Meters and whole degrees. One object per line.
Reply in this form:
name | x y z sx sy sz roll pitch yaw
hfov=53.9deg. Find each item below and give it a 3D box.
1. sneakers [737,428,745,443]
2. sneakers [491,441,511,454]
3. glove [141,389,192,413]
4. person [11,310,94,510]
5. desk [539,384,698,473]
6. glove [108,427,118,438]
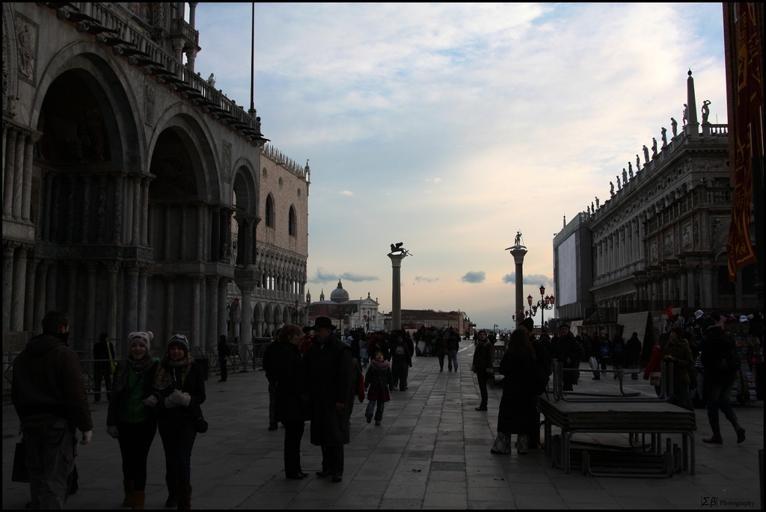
sneakers | 7.232 3.669 15.300 0.137 0.292 0.394 -3 -10 21
sneakers | 2.253 3.679 14.464 0.381 0.233 0.288 0 -10 5
glove | -3.101 2.086 10.941 0.483 0.302 0.187 2 -5 0
person | -4.702 2.176 10.736 1.147 2.784 0.380 1 -10 0
desk | 4.336 3.250 13.952 2.582 1.359 2.811 -3 -10 19
glove | -4.011 2.609 11.192 0.142 0.160 0.308 4 -10 -20
